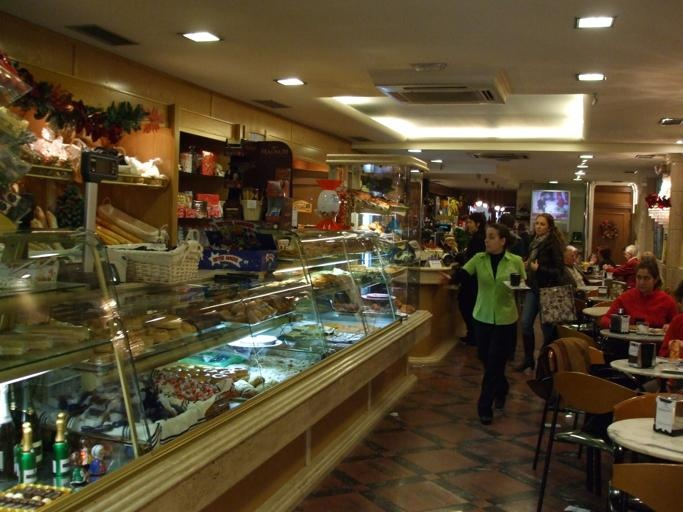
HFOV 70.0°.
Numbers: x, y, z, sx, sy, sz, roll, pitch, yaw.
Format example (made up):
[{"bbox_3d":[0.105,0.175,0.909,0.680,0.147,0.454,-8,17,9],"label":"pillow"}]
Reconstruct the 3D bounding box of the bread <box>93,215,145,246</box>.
[{"bbox_3d":[-2.026,-0.253,4.422,0.409,0.134,0.484,19,-5,-14],"label":"bread"}]

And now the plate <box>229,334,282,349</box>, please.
[{"bbox_3d":[-0.512,0.492,2.820,0.183,0.020,0.177,0,3,25],"label":"plate"}]

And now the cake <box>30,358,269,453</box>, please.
[{"bbox_3d":[-0.777,0.598,2.279,0.415,0.342,0.961,5,6,32],"label":"cake"}]

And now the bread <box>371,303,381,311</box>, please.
[{"bbox_3d":[0.314,0.469,4.479,0.069,0.049,0.087,1,10,-31],"label":"bread"}]

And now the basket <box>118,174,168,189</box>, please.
[{"bbox_3d":[-2.090,-0.783,5.053,0.281,0.117,0.671,2,5,11],"label":"basket"}]
